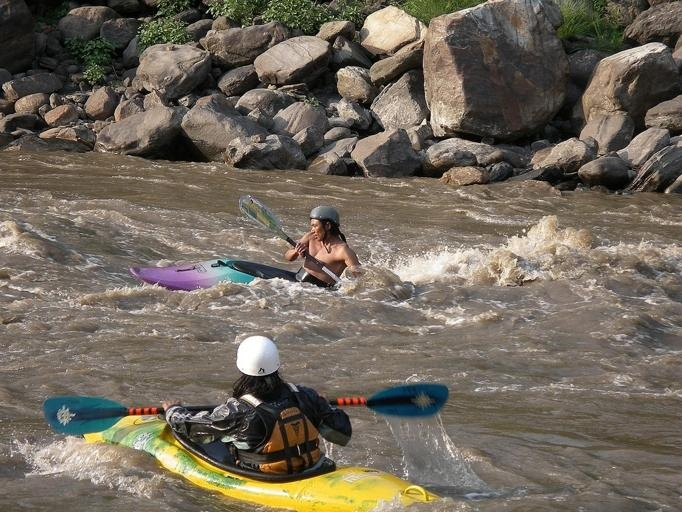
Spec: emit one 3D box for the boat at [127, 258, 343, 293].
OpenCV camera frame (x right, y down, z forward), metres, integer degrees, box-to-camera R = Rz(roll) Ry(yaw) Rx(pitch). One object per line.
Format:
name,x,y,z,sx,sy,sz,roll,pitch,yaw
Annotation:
boat,-1.136,0.215,10.695,2.570,0.275,0.555,0,7,-12

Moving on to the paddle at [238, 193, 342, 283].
paddle,-0.628,-0.202,11.468,0.260,1.629,0.097,-28,26,49

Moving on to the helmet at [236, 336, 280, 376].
helmet,-0.629,0.734,7.041,0.427,0.196,0.384,-5,17,-18

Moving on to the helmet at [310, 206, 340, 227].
helmet,-0.196,-0.463,10.654,0.303,0.235,0.275,-2,19,4
